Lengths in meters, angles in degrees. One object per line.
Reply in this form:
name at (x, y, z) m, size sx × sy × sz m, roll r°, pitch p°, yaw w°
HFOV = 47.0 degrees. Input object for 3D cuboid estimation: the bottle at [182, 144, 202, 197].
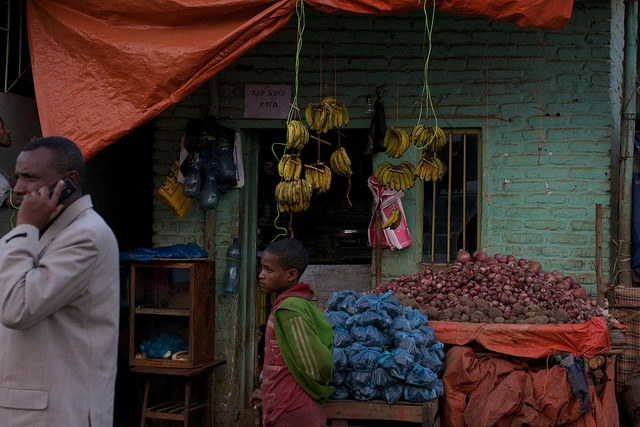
bottle at (-1.505, -0.493, 8.730) m, size 0.218 × 0.599 × 0.262 m, roll 0°, pitch -2°, yaw -11°

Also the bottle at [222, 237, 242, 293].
bottle at (-1.068, 0.655, 8.985) m, size 0.231 × 0.691 × 0.229 m, roll 0°, pitch -2°, yaw 0°

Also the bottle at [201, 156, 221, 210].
bottle at (-1.305, -0.353, 8.774) m, size 0.205 × 0.596 × 0.277 m, roll 0°, pitch -2°, yaw -9°
